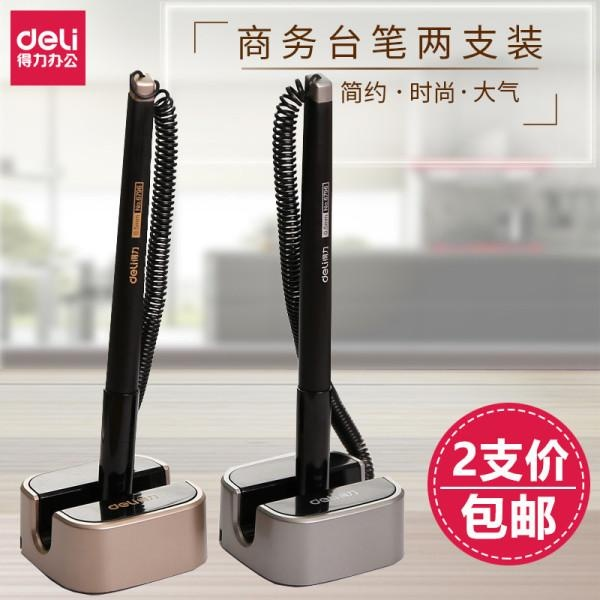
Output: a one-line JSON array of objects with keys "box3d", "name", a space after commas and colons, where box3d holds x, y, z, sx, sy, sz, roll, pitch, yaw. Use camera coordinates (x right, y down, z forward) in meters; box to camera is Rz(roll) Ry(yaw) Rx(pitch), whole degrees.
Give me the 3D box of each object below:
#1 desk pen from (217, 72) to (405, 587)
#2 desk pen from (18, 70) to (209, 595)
[{"box3d": [0.035, 0.043, 1.435, 0.343, 0.858, 0.294, -3, 6, -26], "name": "desk pen"}, {"box3d": [-0.320, 0.047, 1.364, 0.253, 0.840, 0.243, -4, 7, -37], "name": "desk pen"}]
